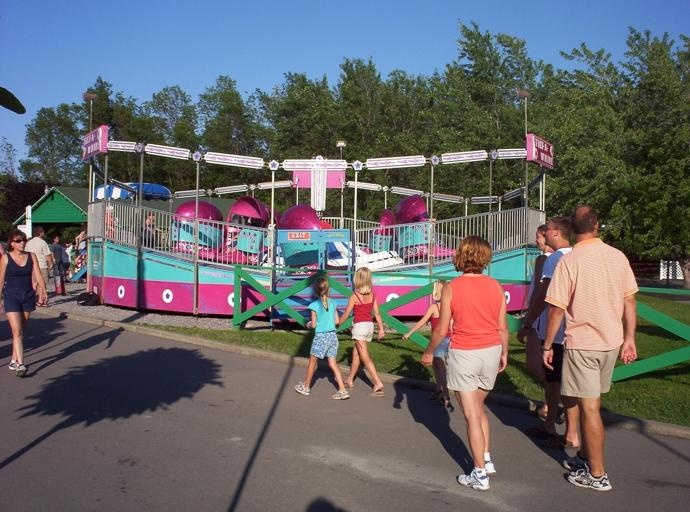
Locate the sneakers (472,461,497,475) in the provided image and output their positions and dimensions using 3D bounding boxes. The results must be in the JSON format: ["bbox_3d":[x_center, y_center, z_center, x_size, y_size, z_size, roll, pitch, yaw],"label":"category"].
[{"bbox_3d":[1.567,2.315,6.538,0.110,0.136,0.277,1,-12,-6],"label":"sneakers"}]

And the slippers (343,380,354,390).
[{"bbox_3d":[0.056,2.041,9.533,0.122,0.158,0.370,2,-3,-7],"label":"slippers"}]

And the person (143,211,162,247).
[{"bbox_3d":[-5.581,-0.769,17.312,0.477,0.962,0.656,-2,6,-20],"label":"person"}]

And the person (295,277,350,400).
[{"bbox_3d":[-0.347,1.213,9.416,0.807,1.828,1.242,0,5,-3],"label":"person"}]

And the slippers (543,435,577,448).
[{"bbox_3d":[2.614,2.239,7.289,0.297,0.092,0.158,7,-8,5],"label":"slippers"}]

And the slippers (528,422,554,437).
[{"bbox_3d":[2.475,2.189,7.596,0.232,0.112,0.146,-5,4,-4],"label":"slippers"}]

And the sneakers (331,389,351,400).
[{"bbox_3d":[-0.078,2.072,9.017,0.119,0.127,0.276,1,-4,-26],"label":"sneakers"}]

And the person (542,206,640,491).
[{"bbox_3d":[2.680,0.967,6.585,0.788,2.972,0.788,4,7,38],"label":"person"}]

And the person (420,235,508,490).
[{"bbox_3d":[1.346,1.119,6.537,0.805,2.665,0.610,1,5,15],"label":"person"}]

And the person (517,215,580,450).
[{"bbox_3d":[2.636,0.955,7.931,0.719,2.936,0.837,8,-1,-14],"label":"person"}]

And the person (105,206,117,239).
[{"bbox_3d":[-6.895,-1.001,17.610,0.110,0.947,0.470,-5,7,-43],"label":"person"}]

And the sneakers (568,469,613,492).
[{"bbox_3d":[2.606,2.385,6.420,0.457,0.235,0.181,5,-8,31],"label":"sneakers"}]
